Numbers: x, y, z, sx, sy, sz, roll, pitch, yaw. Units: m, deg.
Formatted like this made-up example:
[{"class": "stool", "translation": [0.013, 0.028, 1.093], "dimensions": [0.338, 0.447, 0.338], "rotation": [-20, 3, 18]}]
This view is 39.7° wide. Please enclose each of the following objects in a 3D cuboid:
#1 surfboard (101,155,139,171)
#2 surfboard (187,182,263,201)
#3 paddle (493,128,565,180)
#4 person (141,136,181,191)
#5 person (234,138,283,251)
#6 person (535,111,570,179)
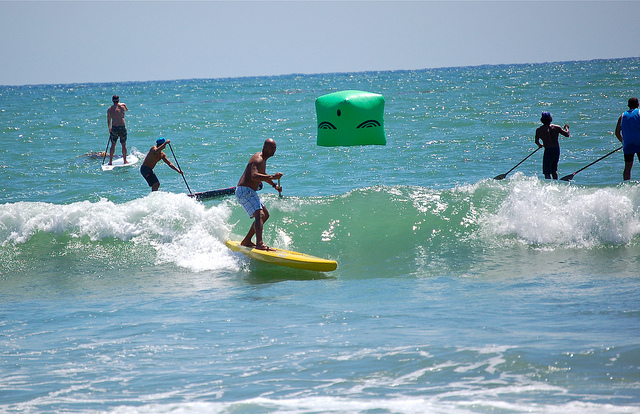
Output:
[{"class": "surfboard", "translation": [-6.003, -1.296, 26.785], "dimensions": [0.830, 0.350, 1.521], "rotation": [-1, 5, 16]}, {"class": "surfboard", "translation": [-2.178, -0.332, 20.561], "dimensions": [2.347, 0.335, 0.334], "rotation": [-7, 19, -36]}, {"class": "paddle", "translation": [5.055, -1.104, 20.954], "dimensions": [2.476, 0.306, 0.239], "rotation": [-30, 24, 9]}, {"class": "person", "translation": [-3.812, -0.979, 20.890], "dimensions": [0.501, 1.225, 1.060], "rotation": [-8, 8, -37]}, {"class": "person", "translation": [-1.251, -0.204, 18.177], "dimensions": [0.886, 2.319, 0.673], "rotation": [-3, 7, 2]}, {"class": "person", "translation": [5.432, -1.408, 20.659], "dimensions": [0.707, 1.574, 0.791], "rotation": [-2, 7, 13]}]
